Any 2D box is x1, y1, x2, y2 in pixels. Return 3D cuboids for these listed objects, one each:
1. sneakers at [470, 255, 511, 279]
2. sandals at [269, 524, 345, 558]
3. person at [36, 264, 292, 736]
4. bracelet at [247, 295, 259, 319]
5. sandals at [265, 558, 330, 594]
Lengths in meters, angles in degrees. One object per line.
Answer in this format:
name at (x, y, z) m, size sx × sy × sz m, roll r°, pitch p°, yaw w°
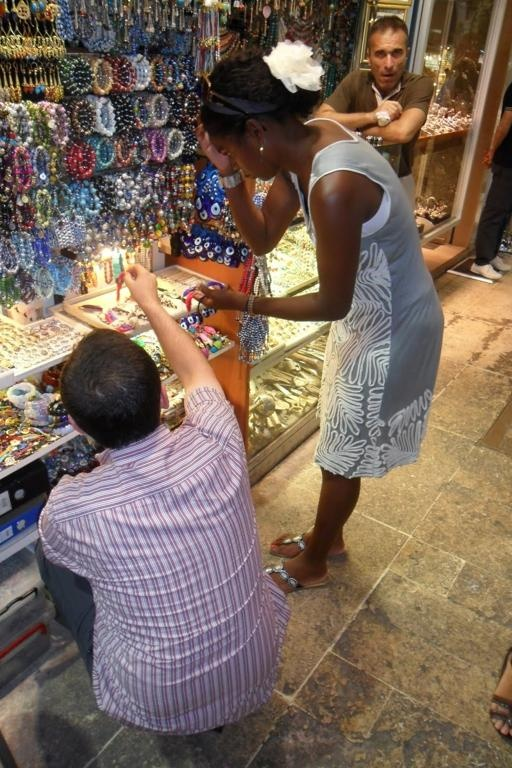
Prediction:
sneakers at (2.306, -1.116, 5.163) m, size 0.281 × 0.101 × 0.279 m, roll 18°, pitch 52°, yaw 20°
sandals at (0.178, 0.659, 2.246) m, size 0.369 × 0.152 × 0.145 m, roll 1°, pitch 40°, yaw 0°
person at (-0.217, 0.345, 1.137) m, size 0.443 × 0.980 × 0.496 m, roll -22°, pitch 38°, yaw -38°
bracelet at (-0.004, -0.223, 1.556) m, size 0.019 × 0.051 × 0.045 m, roll 1°, pitch 29°, yaw 5°
sandals at (0.144, 0.773, 2.110) m, size 0.375 × 0.110 × 0.143 m, roll 0°, pitch 53°, yaw 1°
